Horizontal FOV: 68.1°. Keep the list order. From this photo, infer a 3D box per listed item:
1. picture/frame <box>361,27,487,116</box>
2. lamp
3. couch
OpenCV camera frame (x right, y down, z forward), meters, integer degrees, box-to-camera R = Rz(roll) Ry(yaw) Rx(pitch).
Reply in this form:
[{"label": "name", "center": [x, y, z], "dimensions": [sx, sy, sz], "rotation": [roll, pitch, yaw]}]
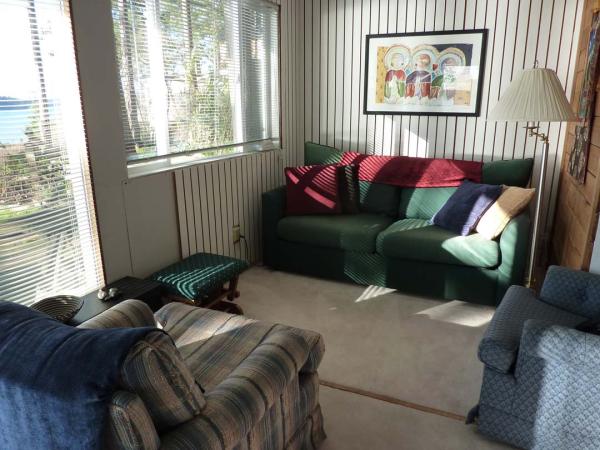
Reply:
[{"label": "picture/frame", "center": [1.194, -1.432, 4.085], "dimensions": [0.882, 0.640, 0.024], "rotation": [6, 16, 23]}, {"label": "lamp", "center": [1.675, -0.385, 3.321], "dimensions": [0.534, 1.484, 0.939], "rotation": [12, 22, 29]}, {"label": "couch", "center": [0.828, -0.038, 3.937], "dimensions": [2.101, 1.160, 1.019], "rotation": [7, 14, 25]}]
